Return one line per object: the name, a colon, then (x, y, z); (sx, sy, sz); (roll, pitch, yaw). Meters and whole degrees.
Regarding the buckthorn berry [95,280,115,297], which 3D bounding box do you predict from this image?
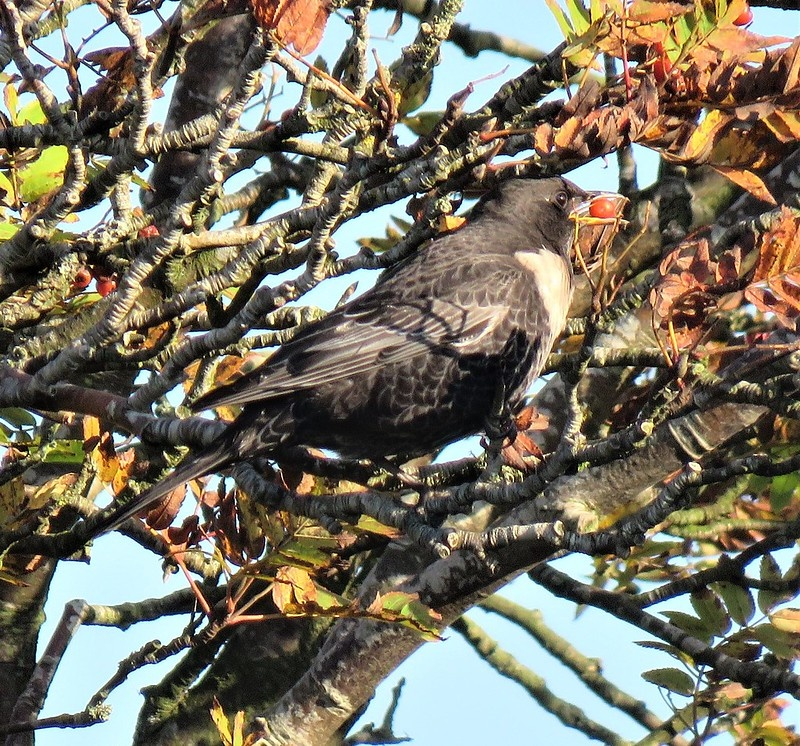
buckthorn berry: (-1.092, -0.320, 7.185); (0.051, 0.061, 0.069); (1, -15, -41)
